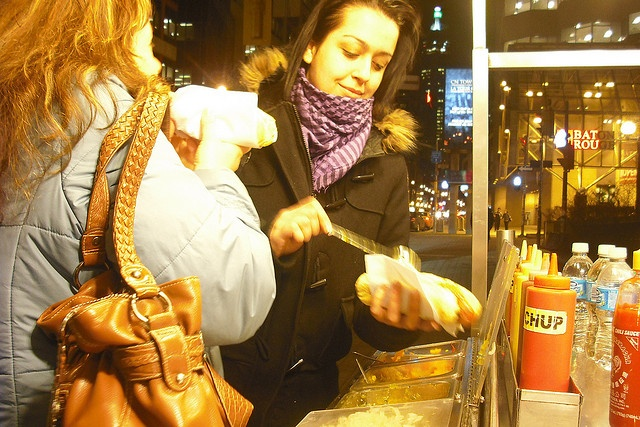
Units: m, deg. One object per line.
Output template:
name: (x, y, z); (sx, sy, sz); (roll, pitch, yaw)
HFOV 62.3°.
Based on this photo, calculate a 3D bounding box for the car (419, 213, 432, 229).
car: (6.793, 0.478, 33.898); (0.795, 0.660, 1.854); (0, 4, 13)

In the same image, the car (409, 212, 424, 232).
car: (5.618, 0.541, 30.520); (0.958, 0.991, 2.237); (1, 5, 15)

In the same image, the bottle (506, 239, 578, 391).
bottle: (0.881, 0.416, 2.058); (0.193, 0.507, 0.275); (3, 3, 22)
